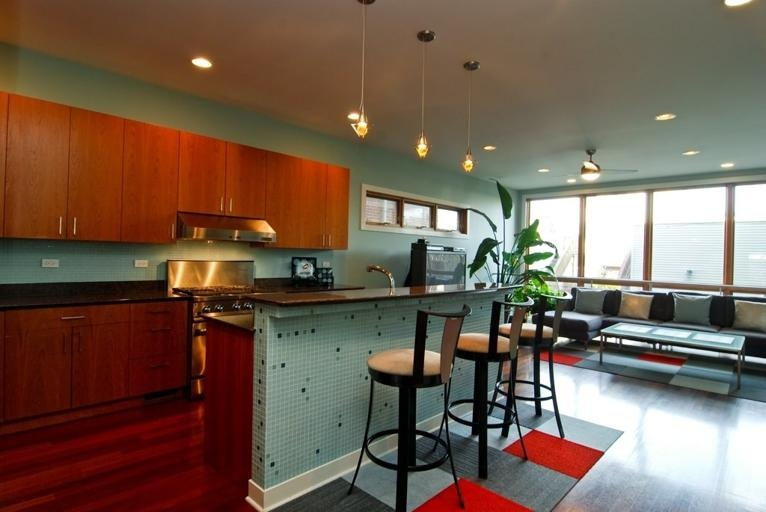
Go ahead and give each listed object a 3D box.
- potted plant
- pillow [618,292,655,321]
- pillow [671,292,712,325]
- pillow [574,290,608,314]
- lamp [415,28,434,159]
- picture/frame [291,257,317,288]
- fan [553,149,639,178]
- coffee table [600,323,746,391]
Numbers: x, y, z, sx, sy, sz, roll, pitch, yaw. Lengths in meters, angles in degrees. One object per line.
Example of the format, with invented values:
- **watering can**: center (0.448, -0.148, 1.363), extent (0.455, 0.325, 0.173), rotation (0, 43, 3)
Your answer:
- **potted plant**: center (2.176, 0.173, 8.869), extent (1.192, 2.106, 1.466), rotation (-11, 31, -43)
- **pillow**: center (4.115, 0.812, 8.349), extent (0.398, 0.378, 0.157), rotation (2, -23, 46)
- **pillow**: center (4.730, 0.778, 7.923), extent (0.477, 0.510, 0.173), rotation (3, 25, 27)
- **pillow**: center (3.549, 0.769, 8.732), extent (0.363, 0.347, 0.135), rotation (5, -19, 37)
- **lamp**: center (0.420, -1.643, 5.306), extent (0.248, 1.185, 0.241), rotation (-10, 19, -32)
- **picture/frame**: center (-1.082, 0.226, 7.020), extent (0.420, 0.388, 0.223), rotation (3, -2, -37)
- **fan**: center (3.160, -1.283, 7.304), extent (0.642, 0.270, 0.718), rotation (-1, 2, 18)
- **coffee table**: center (3.989, 1.320, 7.138), extent (1.630, 0.608, 1.015), rotation (0, 1, 36)
